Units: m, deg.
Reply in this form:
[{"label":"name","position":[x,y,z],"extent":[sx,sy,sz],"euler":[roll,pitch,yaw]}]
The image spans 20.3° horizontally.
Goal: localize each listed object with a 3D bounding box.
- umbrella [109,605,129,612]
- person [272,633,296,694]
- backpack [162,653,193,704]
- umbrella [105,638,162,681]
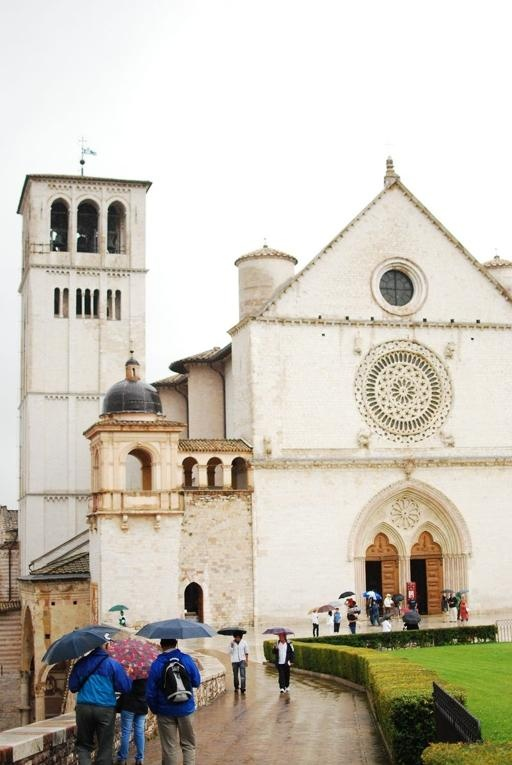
[{"label":"umbrella","position":[-4.338,7.060,44.815],"extent":[0.583,0.230,0.905],"euler":[0,-8,-6]},{"label":"person","position":[0.537,5.773,29.580],"extent":[0.375,1.192,0.874],"euler":[-1,-8,0]},{"label":"backpack","position":[-1.092,4.052,19.446],"extent":[0.576,0.789,0.445],"euler":[4,-13,-20]},{"label":"umbrella","position":[-1.868,4.198,21.956],"extent":[0.686,0.240,0.719],"euler":[8,-3,16]}]
